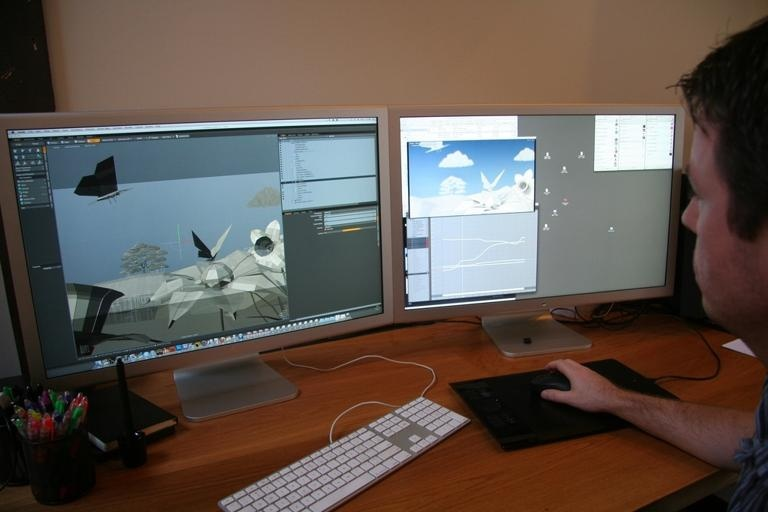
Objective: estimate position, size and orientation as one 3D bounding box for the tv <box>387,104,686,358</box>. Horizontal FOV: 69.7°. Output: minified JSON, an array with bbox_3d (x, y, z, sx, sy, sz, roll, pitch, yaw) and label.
[{"bbox_3d":[0.428,-0.093,1.568,0.740,0.525,0.206,-6,16,-14],"label":"tv"}]
